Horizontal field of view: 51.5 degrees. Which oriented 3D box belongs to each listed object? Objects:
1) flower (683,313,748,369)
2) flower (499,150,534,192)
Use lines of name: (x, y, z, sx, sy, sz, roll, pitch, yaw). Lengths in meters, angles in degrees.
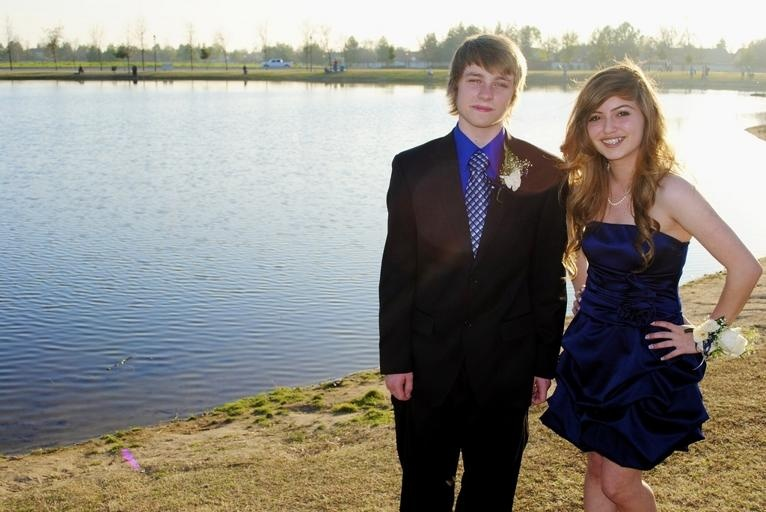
flower: (2.653, 0.633, 6.122, 0.594, 0.343, 0.113, -2, 16, -10)
flower: (1.031, -0.708, 6.147, 0.196, 0.234, 0.051, 9, 59, 11)
